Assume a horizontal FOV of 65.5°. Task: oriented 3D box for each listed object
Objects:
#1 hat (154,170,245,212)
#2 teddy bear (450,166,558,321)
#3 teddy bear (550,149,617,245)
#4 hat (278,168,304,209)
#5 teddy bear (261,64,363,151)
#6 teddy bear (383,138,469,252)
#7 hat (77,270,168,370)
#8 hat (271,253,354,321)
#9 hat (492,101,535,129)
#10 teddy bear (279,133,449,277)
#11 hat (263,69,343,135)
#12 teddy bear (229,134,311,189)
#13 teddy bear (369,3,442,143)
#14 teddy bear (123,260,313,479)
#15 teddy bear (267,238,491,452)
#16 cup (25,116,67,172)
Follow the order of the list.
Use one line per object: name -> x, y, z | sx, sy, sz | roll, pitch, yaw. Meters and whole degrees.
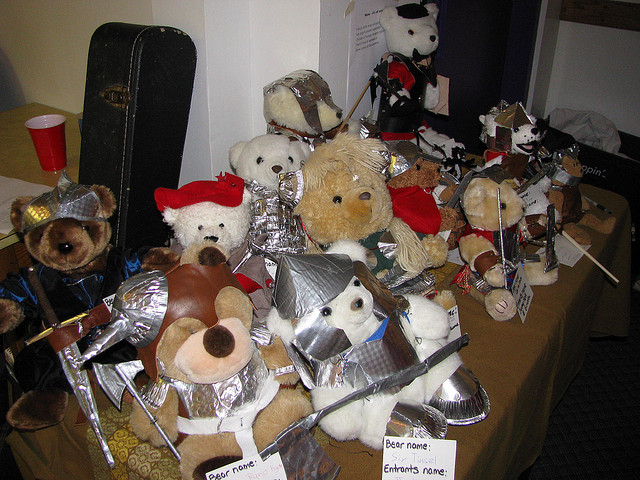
hat -> -0.426, -0.163, 1.737 | 0.283, 0.112, 0.253 | -10, 3, 19
teddy bear -> 0.709, 0.023, 1.916 | 0.340, 0.429, 0.273 | -37, 36, -28
teddy bear -> 1.142, -0.204, 2.191 | 0.241, 0.369, 0.263 | 0, 23, 35
hat -> -0.102, -0.180, 1.717 | 0.094, 0.124, 0.030 | -3, -1, 20
teddy bear -> -0.004, -0.559, 2.112 | 0.399, 0.285, 0.334 | -19, 22, -34
teddy bear -> 0.410, -0.160, 1.936 | 0.250, 0.431, 0.326 | -4, 35, 23
hat -> -0.550, 0.223, 1.386 | 0.267, 0.184, 0.137 | -15, 32, -24
hat -> -0.016, 0.133, 1.429 | 0.200, 0.103, 0.175 | -44, 62, 6
hat -> 0.809, -0.516, 2.072 | 0.112, 0.074, 0.116 | 23, 41, 31
teddy bear -> 0.158, -0.068, 1.730 | 0.462, 0.542, 0.424 | -19, 1, 9
hat -> -0.064, -0.629, 2.068 | 0.294, 0.110, 0.220 | 36, 52, 14
teddy bear -> -0.190, -0.254, 1.938 | 0.299, 0.345, 0.244 | -1, 17, -9
teddy bear -> 0.407, -0.832, 2.505 | 0.345, 0.618, 0.657 | 15, 32, 26
teddy bear -> -0.290, 0.384, 1.411 | 0.398, 0.418, 0.300 | -29, 35, -23
teddy bear -> 0.139, 0.305, 1.513 | 0.538, 0.332, 0.714 | -30, 35, -31
cup -> -1.313, -0.461, 2.419 | 0.167, 0.210, 0.177 | -3, 18, 1
